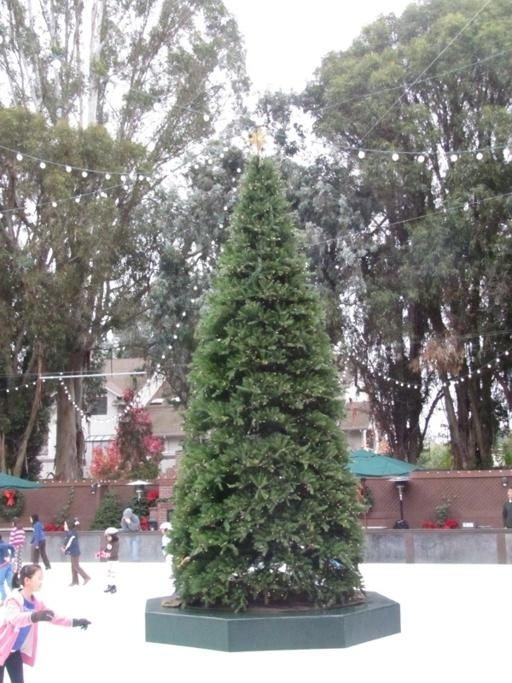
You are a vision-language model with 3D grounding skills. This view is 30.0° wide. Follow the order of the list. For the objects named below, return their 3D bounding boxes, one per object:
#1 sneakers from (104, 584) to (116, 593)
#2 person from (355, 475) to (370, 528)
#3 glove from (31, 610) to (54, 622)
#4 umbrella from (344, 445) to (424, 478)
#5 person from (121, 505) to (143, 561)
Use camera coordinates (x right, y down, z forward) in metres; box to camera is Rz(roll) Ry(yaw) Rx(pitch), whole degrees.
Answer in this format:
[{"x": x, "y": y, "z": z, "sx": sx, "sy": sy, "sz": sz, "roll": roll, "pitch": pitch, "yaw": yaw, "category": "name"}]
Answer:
[{"x": -2.448, "y": 4.120, "z": 15.978, "sx": 0.178, "sy": 0.117, "sz": 0.290, "roll": 2, "pitch": -15, "yaw": -5, "category": "sneakers"}, {"x": 2.788, "y": 4.189, "z": 24.507, "sx": 0.265, "sy": 1.204, "sz": 0.340, "roll": 2, "pitch": -28, "yaw": -5, "category": "person"}, {"x": -1.799, "y": 2.309, "z": 8.049, "sx": 0.129, "sy": 0.056, "sz": 0.103, "roll": 9, "pitch": -25, "yaw": -30, "category": "glove"}, {"x": 2.800, "y": 2.836, "z": 22.312, "sx": 1.506, "sy": 0.800, "sz": 1.366, "roll": 4, "pitch": -18, "yaw": -14, "category": "umbrella"}, {"x": -3.001, "y": 4.671, "z": 22.909, "sx": 0.432, "sy": 1.133, "sz": 1.402, "roll": 1, "pitch": -17, "yaw": -6, "category": "person"}]
